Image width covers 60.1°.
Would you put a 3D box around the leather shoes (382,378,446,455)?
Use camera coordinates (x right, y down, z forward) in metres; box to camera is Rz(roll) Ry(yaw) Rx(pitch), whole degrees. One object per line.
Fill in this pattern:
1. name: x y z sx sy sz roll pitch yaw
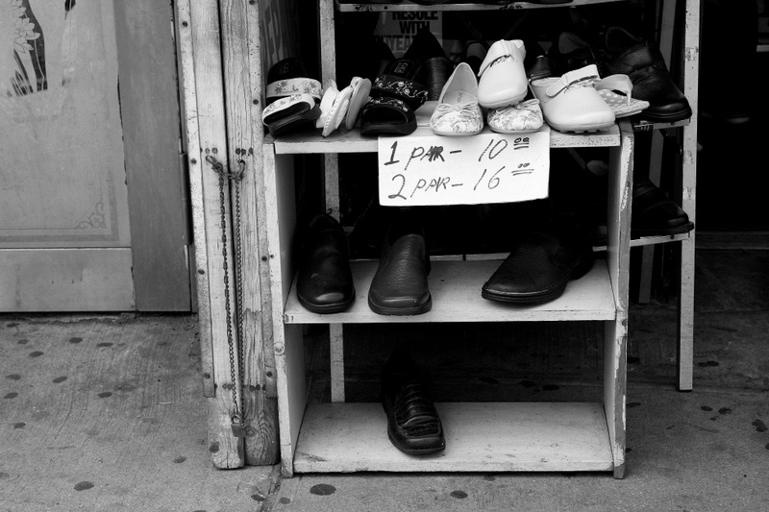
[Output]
1. leather shoes: 0.093 0.486 2.039 0.117 0.104 0.258 -4 19 -10

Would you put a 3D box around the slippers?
1. slippers: -0.104 -0.456 1.905 0.446 0.212 0.362 1 17 0

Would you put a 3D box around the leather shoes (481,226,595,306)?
1. leather shoes: 0.455 0.033 1.954 0.182 0.180 0.339 13 21 33

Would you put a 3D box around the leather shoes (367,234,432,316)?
1. leather shoes: 0.043 0.052 1.913 0.168 0.182 0.294 1 17 -1

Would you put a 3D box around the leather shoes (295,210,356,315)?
1. leather shoes: -0.166 0.017 1.946 0.132 0.114 0.326 -2 26 -7

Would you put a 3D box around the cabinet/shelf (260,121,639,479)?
1. cabinet/shelf: 0.191 0.152 2.049 1.233 1.045 0.421 0 13 3
